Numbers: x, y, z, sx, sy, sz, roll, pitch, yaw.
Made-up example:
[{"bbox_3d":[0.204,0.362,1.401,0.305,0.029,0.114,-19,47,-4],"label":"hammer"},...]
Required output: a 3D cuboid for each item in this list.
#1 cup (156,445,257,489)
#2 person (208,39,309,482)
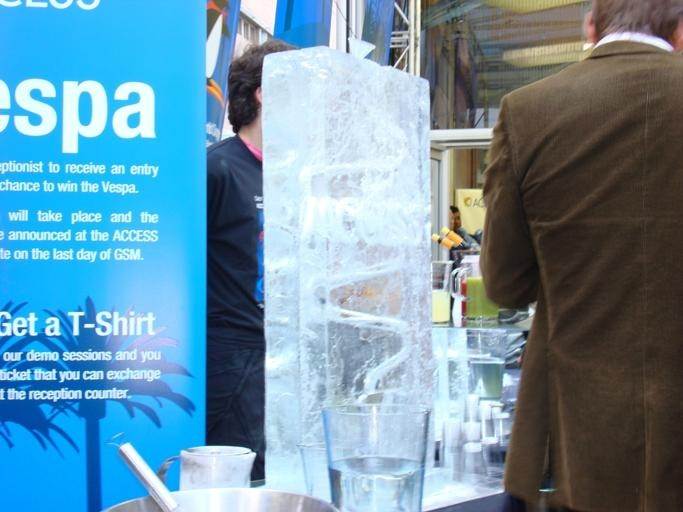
[{"bbox_3d":[-0.189,0.311,1.179,0.158,0.056,0.103,-7,-7,38],"label":"cup"},{"bbox_3d":[-0.247,-0.006,2.134,0.243,1.167,0.189,-1,-5,-11],"label":"person"}]
